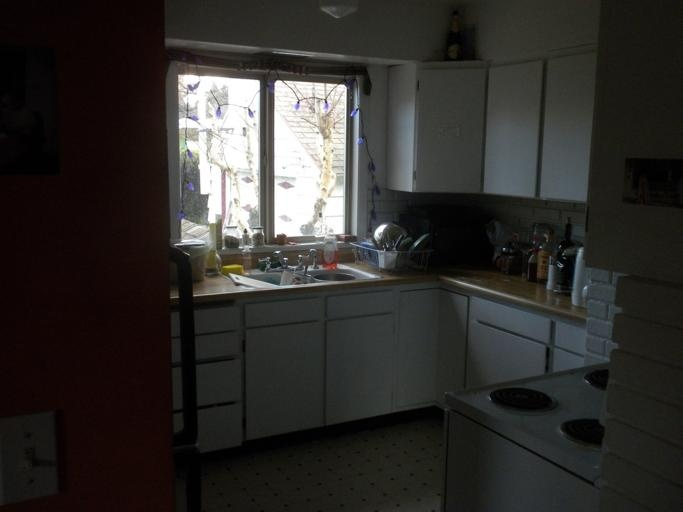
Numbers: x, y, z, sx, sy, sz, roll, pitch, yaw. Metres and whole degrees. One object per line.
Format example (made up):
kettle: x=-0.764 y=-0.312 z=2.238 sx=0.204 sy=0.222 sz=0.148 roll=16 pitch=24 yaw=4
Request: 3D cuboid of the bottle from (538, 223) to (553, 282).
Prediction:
bottle: x=1.321 y=-0.001 z=3.485 sx=0.093 sy=0.328 sz=0.224 roll=4 pitch=11 yaw=20

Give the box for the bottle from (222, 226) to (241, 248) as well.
bottle: x=-0.755 y=-0.135 z=3.771 sx=0.145 sy=0.153 sz=0.097 roll=-5 pitch=11 yaw=-25

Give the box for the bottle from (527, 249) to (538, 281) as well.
bottle: x=1.265 y=0.058 z=3.566 sx=0.064 sy=0.196 sz=0.164 roll=3 pitch=11 yaw=18

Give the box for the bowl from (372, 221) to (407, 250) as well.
bowl: x=0.347 y=-0.122 z=3.799 sx=0.191 sy=0.221 sz=0.155 roll=3 pitch=-4 yaw=-26

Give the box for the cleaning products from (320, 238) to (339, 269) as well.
cleaning products: x=-0.081 y=-0.025 z=3.913 sx=0.112 sy=0.214 sz=0.139 roll=-1 pitch=10 yaw=-7

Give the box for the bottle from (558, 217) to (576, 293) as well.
bottle: x=1.371 y=-0.011 z=3.280 sx=0.110 sy=0.409 sz=0.475 roll=4 pitch=11 yaw=22

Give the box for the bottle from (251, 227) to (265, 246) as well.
bottle: x=-0.587 y=-0.137 z=3.830 sx=0.095 sy=0.135 sz=0.102 roll=0 pitch=10 yaw=0

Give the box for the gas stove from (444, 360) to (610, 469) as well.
gas stove: x=0.727 y=0.521 z=1.856 sx=0.588 sy=0.073 sz=0.561 roll=-9 pitch=15 yaw=-39

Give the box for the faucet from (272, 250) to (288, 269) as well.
faucet: x=-0.431 y=0.022 z=3.800 sx=0.113 sy=0.113 sz=0.212 roll=-1 pitch=11 yaw=-7

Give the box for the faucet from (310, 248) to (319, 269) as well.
faucet: x=-0.190 y=0.016 z=3.870 sx=0.065 sy=0.138 sz=0.186 roll=0 pitch=11 yaw=-2

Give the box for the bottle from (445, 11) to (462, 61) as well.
bottle: x=0.824 y=-1.603 z=3.900 sx=0.119 sy=0.362 sz=0.141 roll=2 pitch=10 yaw=10
